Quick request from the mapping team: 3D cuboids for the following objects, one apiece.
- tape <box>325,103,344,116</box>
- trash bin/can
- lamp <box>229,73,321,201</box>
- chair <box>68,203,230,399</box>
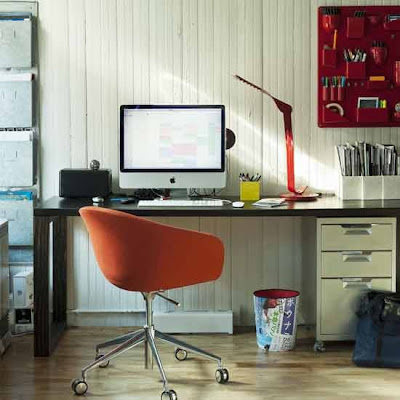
[{"bbox_3d":[0.796,-0.529,3.521,0.108,0.079,0.028,1,12,7],"label":"tape"},{"bbox_3d":[0.404,0.634,3.230,0.243,0.330,0.272,0,1,2],"label":"trash bin/can"},{"bbox_3d":[0.448,-0.357,3.438,0.510,0.697,0.354,2,12,13],"label":"lamp"},{"bbox_3d":[-0.272,0.410,3.056,0.725,1.008,0.777,-1,-1,-31],"label":"chair"}]
